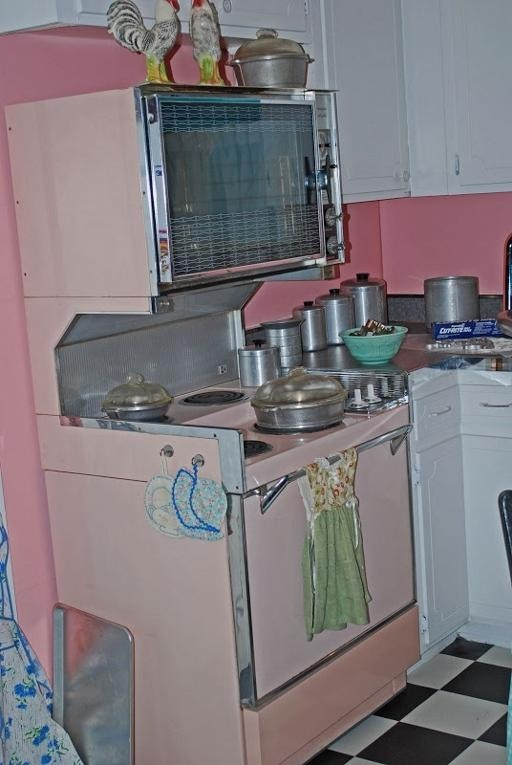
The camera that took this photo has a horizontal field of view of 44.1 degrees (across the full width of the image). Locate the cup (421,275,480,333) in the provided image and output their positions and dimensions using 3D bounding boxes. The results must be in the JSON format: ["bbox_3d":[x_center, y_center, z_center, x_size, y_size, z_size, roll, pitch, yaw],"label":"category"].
[{"bbox_3d":[0.758,-0.317,2.568,0.217,0.235,0.221,-5,9,1],"label":"cup"}]

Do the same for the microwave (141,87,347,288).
[{"bbox_3d":[-0.014,-0.477,1.471,0.150,0.440,0.720,-7,-2,30],"label":"microwave"}]

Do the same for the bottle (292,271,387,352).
[{"bbox_3d":[0.349,-0.272,2.416,0.406,0.274,0.218,-13,15,-37],"label":"bottle"}]

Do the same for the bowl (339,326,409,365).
[{"bbox_3d":[0.390,-0.132,2.085,0.156,0.073,0.152,-6,17,2],"label":"bowl"}]

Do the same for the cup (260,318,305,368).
[{"bbox_3d":[0.105,-0.138,2.185,0.153,0.148,0.149,-7,12,2],"label":"cup"}]

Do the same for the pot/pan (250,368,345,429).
[{"bbox_3d":[0.093,0.051,1.531,0.148,0.081,0.187,-6,6,31],"label":"pot/pan"}]

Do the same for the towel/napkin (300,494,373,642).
[{"bbox_3d":[0.176,0.416,1.410,0.183,0.287,0.077,-5,-2,-43],"label":"towel/napkin"}]

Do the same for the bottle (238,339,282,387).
[{"bbox_3d":[0.011,-0.068,2.042,0.144,0.147,0.134,-15,18,-33],"label":"bottle"}]

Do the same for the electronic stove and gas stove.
[{"bbox_3d":[0.016,0.123,1.540,0.398,0.192,0.738,-7,-1,34],"label":"electronic stove and gas stove"}]

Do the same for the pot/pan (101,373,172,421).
[{"bbox_3d":[-0.278,0.029,1.485,0.126,0.066,0.108,-4,3,19],"label":"pot/pan"}]
